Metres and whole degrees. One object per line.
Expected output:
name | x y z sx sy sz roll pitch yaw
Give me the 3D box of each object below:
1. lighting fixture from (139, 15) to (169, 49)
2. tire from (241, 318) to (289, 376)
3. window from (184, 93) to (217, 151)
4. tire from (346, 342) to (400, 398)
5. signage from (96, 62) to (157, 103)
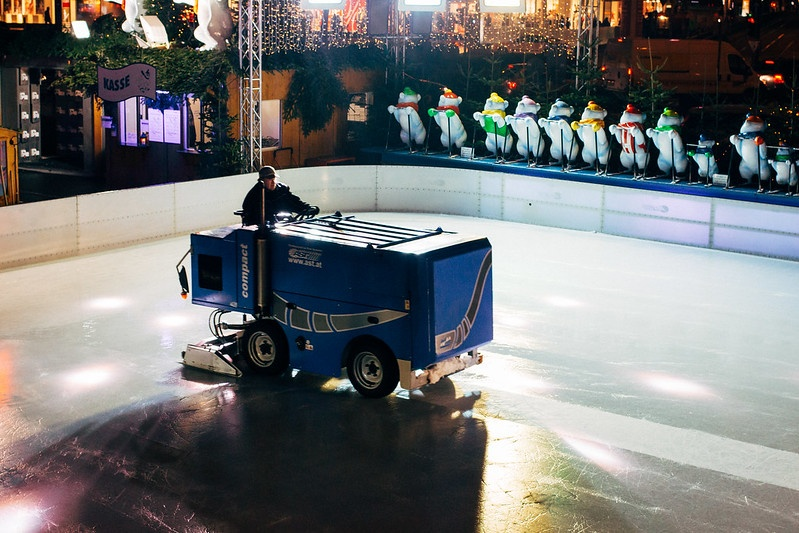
lighting fixture | -7.498 -7.161 23.741 0.789 0.978 0.632 -3 11 -18
tire | -1.954 1.168 11.389 0.645 0.645 0.232 -30 -7 35
window | -5.966 -4.413 23.407 1.770 1.915 0.099 3 4 45
tire | -0.359 1.390 10.692 0.697 0.745 0.262 11 17 33
signage | -8.047 -5.410 22.901 0.047 1.225 2.080 20 22 31
